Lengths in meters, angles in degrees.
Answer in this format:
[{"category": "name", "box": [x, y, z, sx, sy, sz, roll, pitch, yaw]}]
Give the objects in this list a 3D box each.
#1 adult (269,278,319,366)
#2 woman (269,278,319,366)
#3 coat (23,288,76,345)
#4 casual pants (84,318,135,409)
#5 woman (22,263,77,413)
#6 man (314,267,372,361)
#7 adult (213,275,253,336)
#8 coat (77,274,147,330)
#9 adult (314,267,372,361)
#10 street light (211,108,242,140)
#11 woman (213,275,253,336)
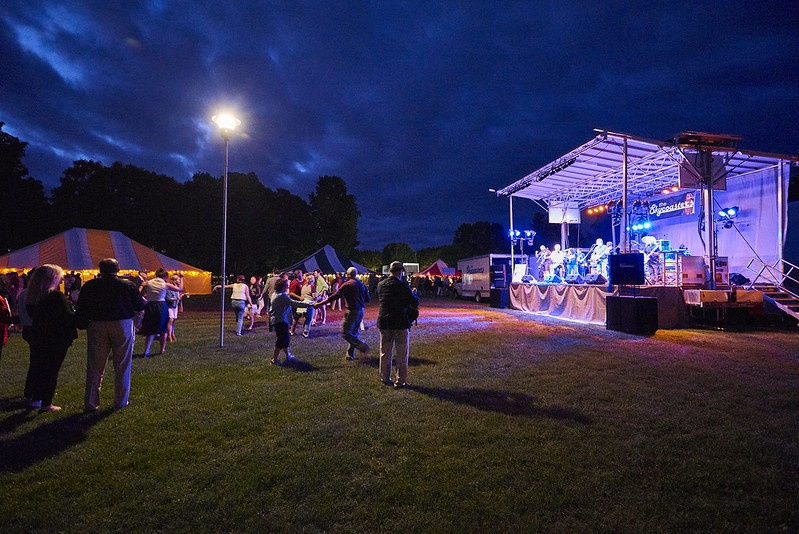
[{"category": "adult", "box": [-2.609, 1.303, 13.488, 0.783, 1.890, 1.026, -4, -6, 41]}, {"category": "woman", "box": [-2.568, 1.269, 13.544, 0.935, 1.968, 1.111, 1, 0, 18]}, {"category": "coat", "box": [-6.645, 0.945, 10.657, 1.013, 1.237, 0.624, 1, 0, 0]}, {"category": "casual pants", "box": [-5.629, 1.748, 10.921, 0.801, 2.065, 0.602, -1, 24, -30]}, {"category": "woman", "box": [-6.705, 1.362, 11.024, 0.931, 2.810, 0.863, 0, 6, -43]}, {"category": "man", "box": [-1.243, 1.092, 13.830, 0.947, 2.263, 1.198, 0, 6, -4]}, {"category": "adult", "box": [-5.997, 1.392, 20.169, 1.570, 2.407, 0.885, 1, 3, -5]}, {"category": "coat", "box": [-5.537, 0.627, 10.756, 1.126, 0.947, 0.334, -1, 6, -14]}, {"category": "adult", "box": [-1.230, 1.089, 13.860, 0.921, 2.263, 1.237, -1, 6, -6]}, {"category": "street light", "box": [-4.429, -3.654, 14.477, 0.585, 0.650, 0.974, -2, 7, -20]}, {"category": "woman", "box": [-5.997, 1.392, 20.169, 1.570, 2.407, 0.885, 1, 3, -5]}]
